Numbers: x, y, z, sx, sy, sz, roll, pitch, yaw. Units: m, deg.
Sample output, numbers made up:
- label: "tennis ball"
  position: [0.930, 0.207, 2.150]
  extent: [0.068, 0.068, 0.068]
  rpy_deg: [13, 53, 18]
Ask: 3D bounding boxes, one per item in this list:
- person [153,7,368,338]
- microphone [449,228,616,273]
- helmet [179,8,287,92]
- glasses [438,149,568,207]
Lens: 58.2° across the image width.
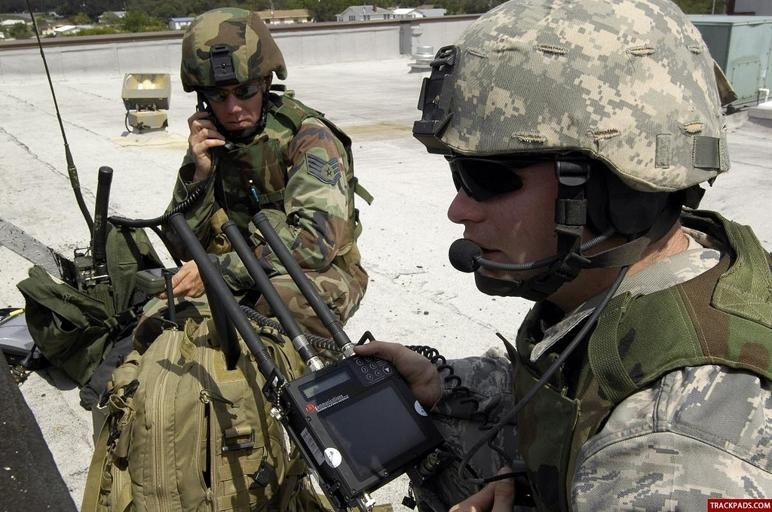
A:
- label: "person"
  position: [-0.536, -0.522, 4.080]
  extent: [0.972, 1.962, 1.358]
  rpy_deg: [1, -2, -5]
- label: "microphone"
  position: [0.377, -0.001, 2.065]
  extent: [0.210, 0.146, 0.313]
  rpy_deg: [6, 51, 1]
- label: "helmet"
  position: [-0.882, -1.180, 3.981]
  extent: [0.587, 0.439, 0.456]
  rpy_deg: [-7, 22, -13]
- label: "glasses"
  position: [0.333, -0.244, 2.099]
  extent: [0.179, 0.067, 0.181]
  rpy_deg: [-5, 11, -8]
